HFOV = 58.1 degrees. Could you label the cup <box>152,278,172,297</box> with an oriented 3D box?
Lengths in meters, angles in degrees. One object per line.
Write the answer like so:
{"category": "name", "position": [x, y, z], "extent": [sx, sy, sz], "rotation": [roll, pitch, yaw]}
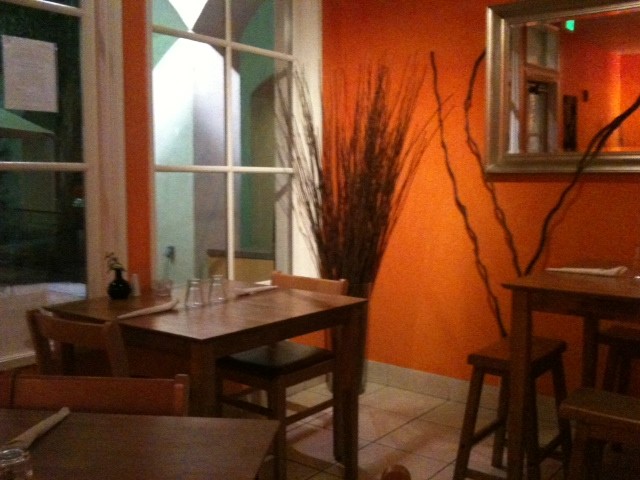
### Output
{"category": "cup", "position": [-0.834, 0.251, 3.045], "extent": [0.099, 0.065, 0.093], "rotation": [1, -2, 0]}

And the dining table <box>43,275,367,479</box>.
{"category": "dining table", "position": [-0.496, 0.499, 2.779], "extent": [1.122, 0.908, 1.124], "rotation": [1, 3, 35]}
